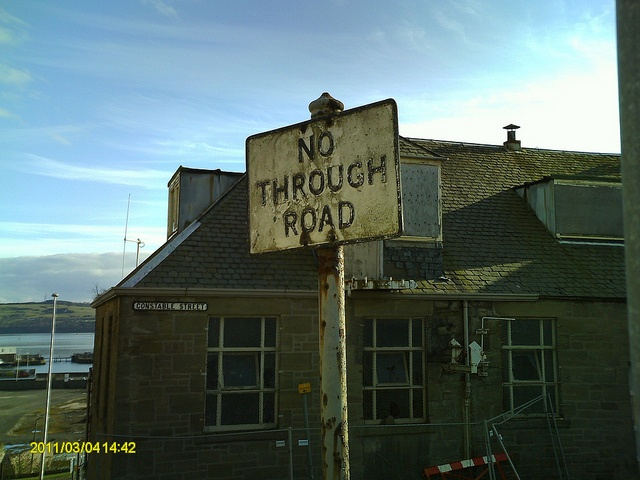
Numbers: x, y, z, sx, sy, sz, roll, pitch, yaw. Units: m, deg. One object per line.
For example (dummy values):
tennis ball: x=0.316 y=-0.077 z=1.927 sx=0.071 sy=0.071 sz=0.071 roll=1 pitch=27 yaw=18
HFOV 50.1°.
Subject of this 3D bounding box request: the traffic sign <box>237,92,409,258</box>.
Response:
traffic sign: x=0.036 y=-0.877 z=9.656 sx=2.240 sy=1.975 sz=0.236 roll=-4 pitch=-10 yaw=21
